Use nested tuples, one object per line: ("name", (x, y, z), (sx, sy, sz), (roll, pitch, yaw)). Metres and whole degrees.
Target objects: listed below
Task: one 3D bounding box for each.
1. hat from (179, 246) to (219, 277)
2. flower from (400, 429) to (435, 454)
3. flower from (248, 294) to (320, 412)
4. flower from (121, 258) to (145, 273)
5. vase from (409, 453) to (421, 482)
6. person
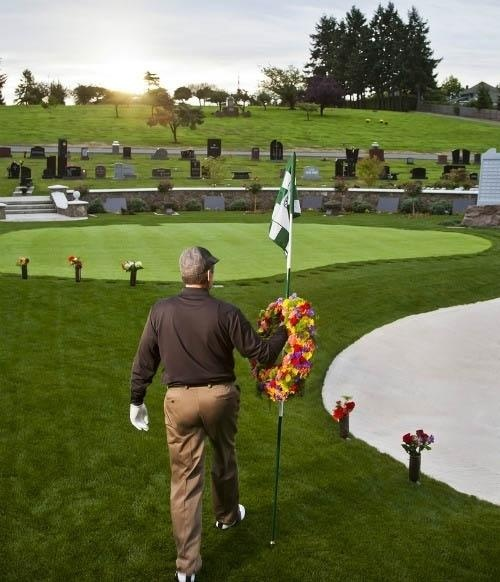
("hat", (-0.401, -0.251, 6.755), (0.196, 0.164, 0.295), (9, 30, 21))
("flower", (1.874, 1.714, 9.417), (0.322, 0.295, 0.317), (5, 12, 9))
("flower", (0.319, 0.507, 6.963), (0.223, 0.856, 0.636), (6, 2, -25))
("flower", (-2.276, -0.510, 16.341), (0.393, 0.294, 0.428), (0, -3, 20))
("vase", (1.843, 1.954, 9.375), (0.133, 0.348, 0.239), (5, 11, 12))
("person", (-0.418, 0.930, 6.775), (0.905, 2.523, 0.807), (-5, 13, -36))
